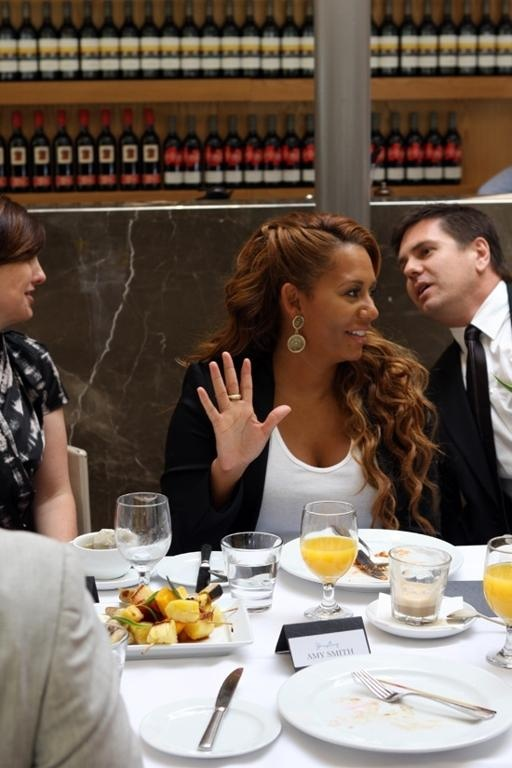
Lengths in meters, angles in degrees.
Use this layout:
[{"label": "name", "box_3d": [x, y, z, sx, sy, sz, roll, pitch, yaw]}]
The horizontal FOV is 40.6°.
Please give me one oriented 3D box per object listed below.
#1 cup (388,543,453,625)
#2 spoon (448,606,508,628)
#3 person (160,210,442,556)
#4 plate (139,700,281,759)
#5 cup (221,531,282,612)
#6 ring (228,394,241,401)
[{"label": "cup", "box_3d": [0.212, 0.269, 0.965, 0.101, 0.099, 0.097, 5, 8, -1]}, {"label": "spoon", "box_3d": [0.316, 0.321, 0.967, 0.064, 0.010, 0.035, 13, 6, 37]}, {"label": "person", "box_3d": [0.111, -0.018, 1.664, 0.671, 0.816, 0.590, -2, 4, 7]}, {"label": "plate", "box_3d": [-0.046, 0.351, 0.705, 0.142, 0.011, 0.113, -3, 3, -4]}, {"label": "cup", "box_3d": [-0.010, 0.271, 1.051, 0.115, 0.113, 0.113, -1, 5, 0]}, {"label": "ring", "box_3d": [-0.043, 0.029, 1.469, 0.028, 0.013, 0.021, -2, 4, 14]}]
